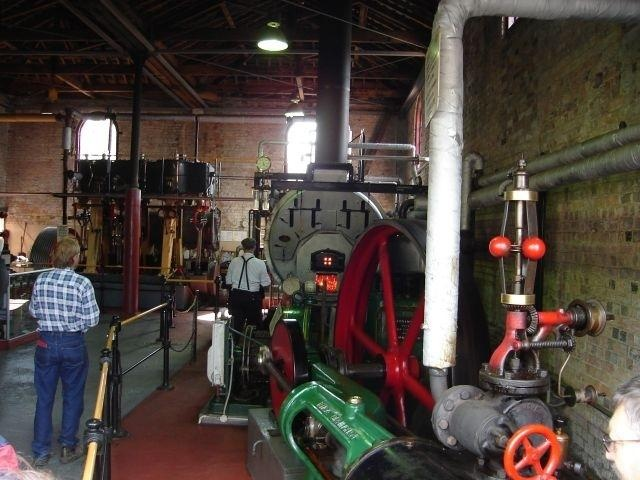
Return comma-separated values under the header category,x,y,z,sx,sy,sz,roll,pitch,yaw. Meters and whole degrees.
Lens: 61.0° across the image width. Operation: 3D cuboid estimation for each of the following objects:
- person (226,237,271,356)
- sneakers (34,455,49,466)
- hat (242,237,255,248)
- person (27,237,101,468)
category,x,y,z,sx,sy,sz,roll,pitch,yaw
person,-1.064,0.786,7.866,0.619,1.755,0.518,3,19,-6
sneakers,-2.587,2.030,5.028,0.171,0.086,0.066,1,4,4
hat,-0.987,0.040,7.476,0.114,0.150,0.146,3,3,-19
person,-2.402,1.026,5.099,0.613,2.085,0.306,0,1,-10
